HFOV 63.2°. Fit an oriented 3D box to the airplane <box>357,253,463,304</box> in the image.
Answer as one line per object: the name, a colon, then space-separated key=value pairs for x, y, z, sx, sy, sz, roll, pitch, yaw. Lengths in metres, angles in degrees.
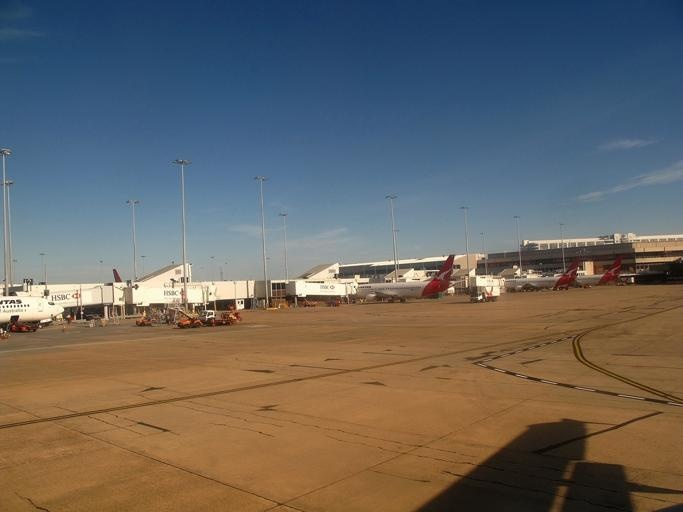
airplane: x=9.682 y=4.615 z=94.277 sx=19.296 sy=5.607 sz=15.215 roll=-7 pitch=-6 yaw=22

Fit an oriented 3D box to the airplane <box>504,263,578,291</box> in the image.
airplane: x=39.470 y=5.334 z=111.097 sx=9.254 sy=2.634 sz=9.492 roll=-4 pitch=2 yaw=-42

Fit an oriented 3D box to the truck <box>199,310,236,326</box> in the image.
truck: x=-12.605 y=6.303 z=56.021 sx=2.983 sy=0.731 sz=2.136 roll=-2 pitch=-1 yaw=39
